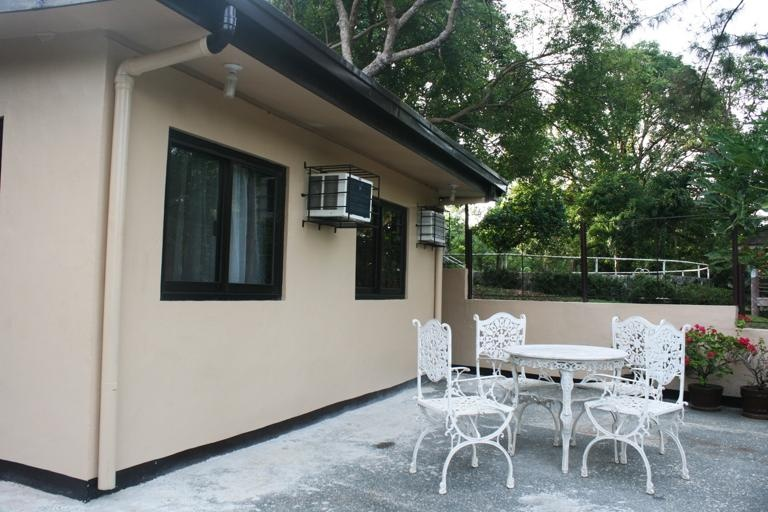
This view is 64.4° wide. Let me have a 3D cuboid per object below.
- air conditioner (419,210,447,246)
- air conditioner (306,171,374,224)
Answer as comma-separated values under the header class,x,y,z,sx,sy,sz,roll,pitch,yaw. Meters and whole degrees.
class,x,y,z,sx,sy,sz,roll,pitch,yaw
air conditioner,0.768,-0.449,9.556,0.293,0.512,0.580,0,-4,26
air conditioner,-0.493,-0.677,7.310,0.463,0.579,0.886,0,-4,24
